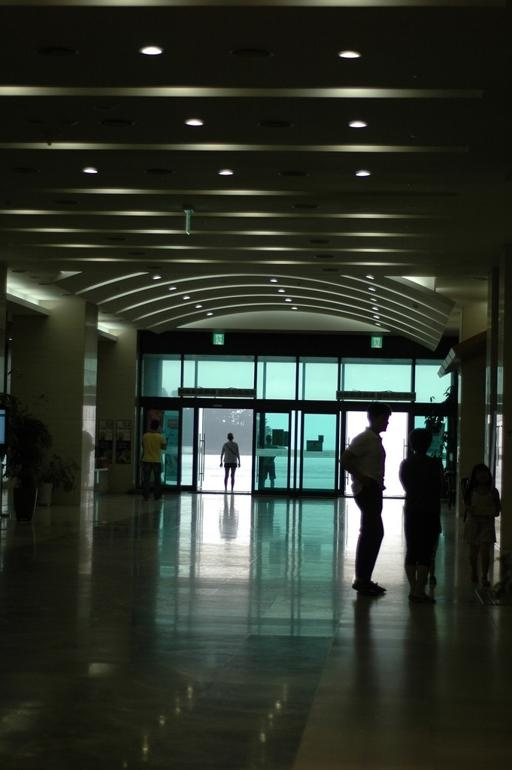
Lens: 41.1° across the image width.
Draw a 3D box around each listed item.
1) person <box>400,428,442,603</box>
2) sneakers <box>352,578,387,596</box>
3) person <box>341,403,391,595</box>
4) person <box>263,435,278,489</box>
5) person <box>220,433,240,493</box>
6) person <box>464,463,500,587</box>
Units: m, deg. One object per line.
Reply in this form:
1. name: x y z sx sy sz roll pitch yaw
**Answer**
1. person: 1.679 1.322 7.040 0.456 1.751 0.377 -1 -8 33
2. sneakers: 1.208 2.178 7.363 0.397 0.174 0.135 1 6 2
3. person: 1.169 1.227 7.355 0.486 2.057 0.720 2 -7 11
4. person: 0.507 2.813 25.239 0.461 1.900 0.211 4 -7 -4
5. person: -0.975 2.824 25.000 0.714 2.150 0.826 4 -7 -2
6. person: 2.701 1.683 8.255 0.392 1.436 1.030 1 -7 17
